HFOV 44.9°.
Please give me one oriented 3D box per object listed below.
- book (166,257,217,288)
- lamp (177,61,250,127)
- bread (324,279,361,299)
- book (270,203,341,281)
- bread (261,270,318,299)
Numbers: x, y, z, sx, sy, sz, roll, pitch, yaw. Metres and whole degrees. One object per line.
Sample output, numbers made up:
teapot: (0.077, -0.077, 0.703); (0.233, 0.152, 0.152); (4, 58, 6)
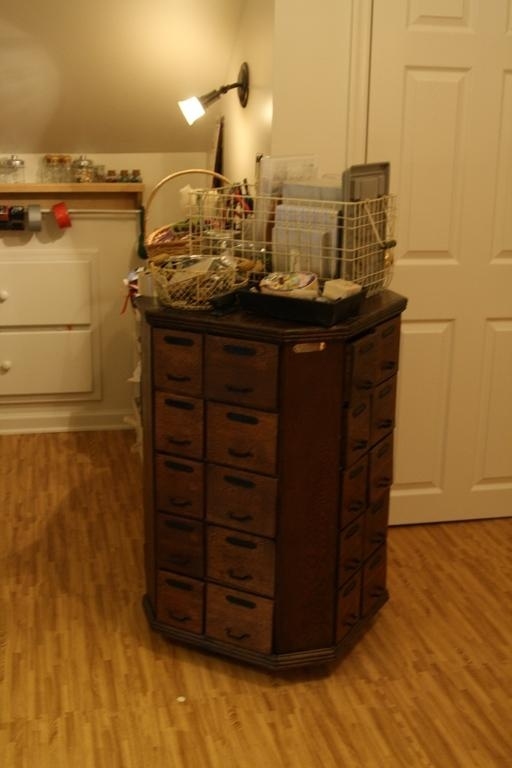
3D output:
book: (-0.138, -0.274, 1.450); (0.049, 0.018, 0.131); (17, 35, 19)
lamp: (-0.087, -1.216, 2.648); (0.430, 0.204, 0.190); (-23, 16, -26)
bread: (0.185, -0.213, 1.339); (0.060, 0.043, 0.060); (-22, 34, -34)
book: (0.124, -0.342, 1.481); (0.164, 0.170, 0.088); (16, 28, 33)
bread: (0.076, -0.217, 1.360); (0.085, 0.020, 0.087); (-6, 25, -12)
